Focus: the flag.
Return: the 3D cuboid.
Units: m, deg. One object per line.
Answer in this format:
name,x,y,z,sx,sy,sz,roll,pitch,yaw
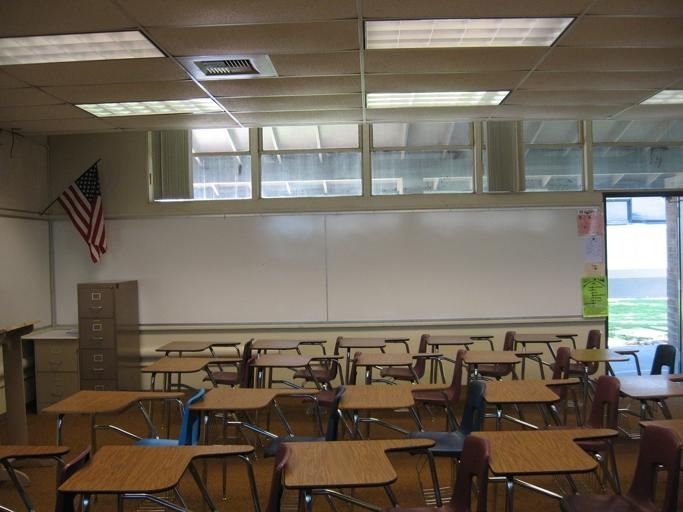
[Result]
flag,-3.651,-0.581,8.558,0.652,1.342,0.276,0,-2,-36
